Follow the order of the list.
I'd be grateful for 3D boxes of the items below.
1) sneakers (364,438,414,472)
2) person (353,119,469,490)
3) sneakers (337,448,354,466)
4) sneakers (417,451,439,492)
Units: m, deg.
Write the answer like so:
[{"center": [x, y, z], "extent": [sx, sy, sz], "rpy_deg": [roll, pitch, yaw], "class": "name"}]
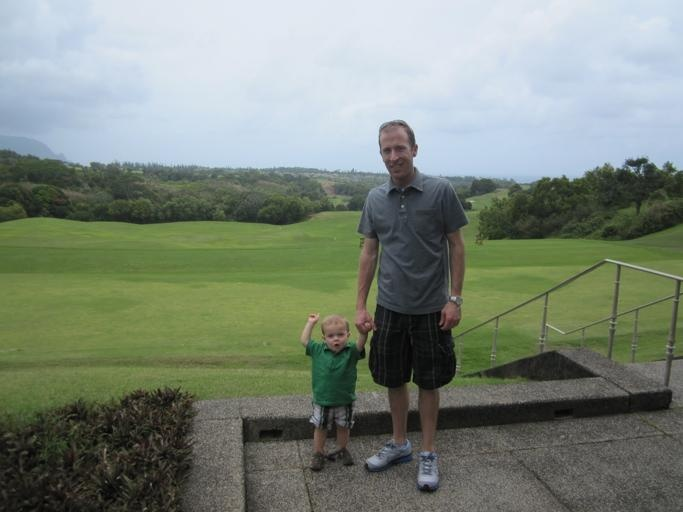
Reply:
[{"center": [0.414, 1.732, 4.636], "extent": [0.440, 0.197, 0.188], "rpy_deg": [-17, -4, -19], "class": "sneakers"}, {"center": [0.558, 0.377, 4.488], "extent": [0.915, 3.065, 0.617], "rpy_deg": [4, 7, 12], "class": "person"}, {"center": [0.040, 1.752, 4.571], "extent": [0.088, 0.144, 0.152], "rpy_deg": [1, -19, -10], "class": "sneakers"}, {"center": [0.739, 1.792, 4.418], "extent": [0.183, 0.290, 0.244], "rpy_deg": [4, 7, 12], "class": "sneakers"}]
